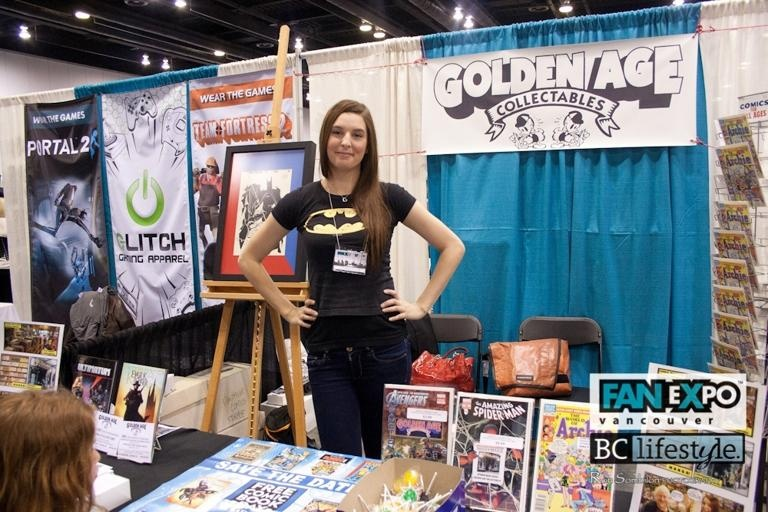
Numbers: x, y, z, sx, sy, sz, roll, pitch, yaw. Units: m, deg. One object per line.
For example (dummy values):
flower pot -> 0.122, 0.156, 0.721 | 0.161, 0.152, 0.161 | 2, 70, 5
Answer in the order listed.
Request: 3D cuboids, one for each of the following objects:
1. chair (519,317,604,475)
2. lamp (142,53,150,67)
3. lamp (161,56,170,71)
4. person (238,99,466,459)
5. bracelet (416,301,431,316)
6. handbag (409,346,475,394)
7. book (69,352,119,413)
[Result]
chair -> 1.320, 0.878, 3.819 | 0.831, 0.791, 0.483 | -1, -4, 26
lamp -> -3.530, -2.896, 7.884 | 0.148, 0.156, 0.146 | -3, -5, -5
lamp -> -3.239, -2.886, 7.985 | 0.157, 0.163, 0.153 | 6, -19, -37
person -> -0.170, 0.127, 2.569 | 1.024, 1.666, 0.373 | -1, 1, 17
bracelet -> 0.194, 0.265, 2.612 | 0.074, 0.083, 0.096 | 4, -23, 0
handbag -> 0.392, 0.780, 3.670 | 0.426, 0.257, 0.287 | 0, -3, 4
book -> -1.384, 0.612, 2.546 | 0.291, 0.337, 0.037 | 4, -7, 14
